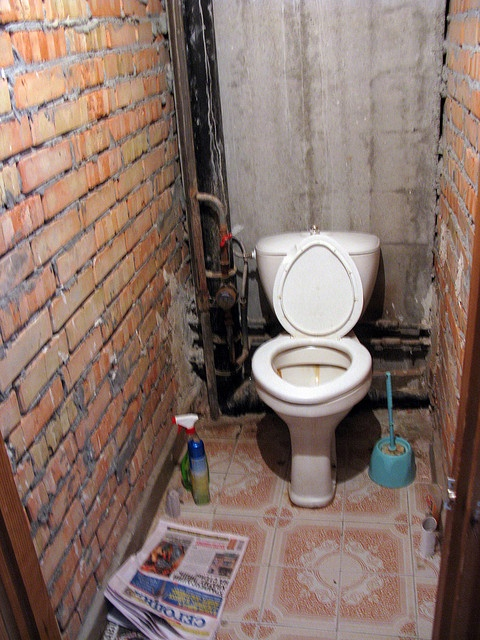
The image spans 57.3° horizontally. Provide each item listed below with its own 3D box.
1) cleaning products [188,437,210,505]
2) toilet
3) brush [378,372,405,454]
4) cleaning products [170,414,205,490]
[{"bbox_3d":[-0.144,0.512,1.504,0.071,0.267,0.063,-6,25,-6],"label":"cleaning products"},{"bbox_3d":[0.249,0.146,1.540,0.443,0.747,0.536,5,25,20],"label":"toilet"},{"bbox_3d":[0.539,0.326,1.546,0.028,0.267,0.039,-4,3,5],"label":"brush"},{"bbox_3d":[-0.166,0.452,1.501,0.080,0.332,0.063,-10,25,-8],"label":"cleaning products"}]
